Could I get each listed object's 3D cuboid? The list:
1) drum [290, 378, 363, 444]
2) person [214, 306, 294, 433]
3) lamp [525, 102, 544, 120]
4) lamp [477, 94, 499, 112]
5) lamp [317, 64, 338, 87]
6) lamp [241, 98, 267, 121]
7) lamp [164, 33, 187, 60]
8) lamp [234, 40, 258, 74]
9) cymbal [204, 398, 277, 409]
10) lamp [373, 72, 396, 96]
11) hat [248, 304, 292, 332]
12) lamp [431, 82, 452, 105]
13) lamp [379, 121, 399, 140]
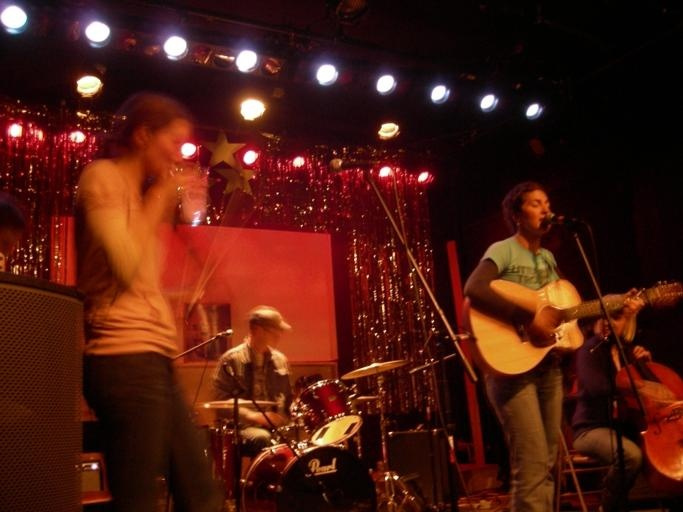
[{"bbox_3d":[-0.117,1.354,5.304,0.553,0.413,0.546,-28,-17,-9],"label":"drum"},{"bbox_3d":[-0.842,1.082,5.796,0.745,1.152,0.651,14,-27,-36],"label":"person"},{"bbox_3d":[2.102,-1.586,6.727,0.182,0.137,0.110,-16,-21,42],"label":"lamp"},{"bbox_3d":[1.610,-1.679,6.729,0.207,0.119,0.171,-6,-16,15],"label":"lamp"},{"bbox_3d":[-0.134,-1.785,6.060,0.227,0.140,0.194,-1,-15,-4],"label":"lamp"},{"bbox_3d":[-0.980,-1.629,6.836,0.282,0.117,0.360,0,-16,-9],"label":"lamp"},{"bbox_3d":[-1.487,-1.881,5.540,0.211,0.151,0.215,3,-16,-17],"label":"lamp"},{"bbox_3d":[-0.884,-1.828,5.765,0.207,0.129,0.232,1,-16,-12],"label":"lamp"},{"bbox_3d":[-0.858,1.233,5.174,0.333,0.052,0.314,10,-11,-34],"label":"cymbal"},{"bbox_3d":[0.459,-1.754,6.293,0.216,0.141,0.174,-3,-15,4],"label":"lamp"},{"bbox_3d":[-0.676,0.580,5.856,0.348,0.176,0.233,10,1,-18],"label":"hat"},{"bbox_3d":[1.063,-1.715,6.530,0.248,0.122,0.206,4,-17,-20],"label":"lamp"},{"bbox_3d":[0.574,-1.493,7.432,0.248,0.109,0.338,-4,-16,7],"label":"lamp"}]
